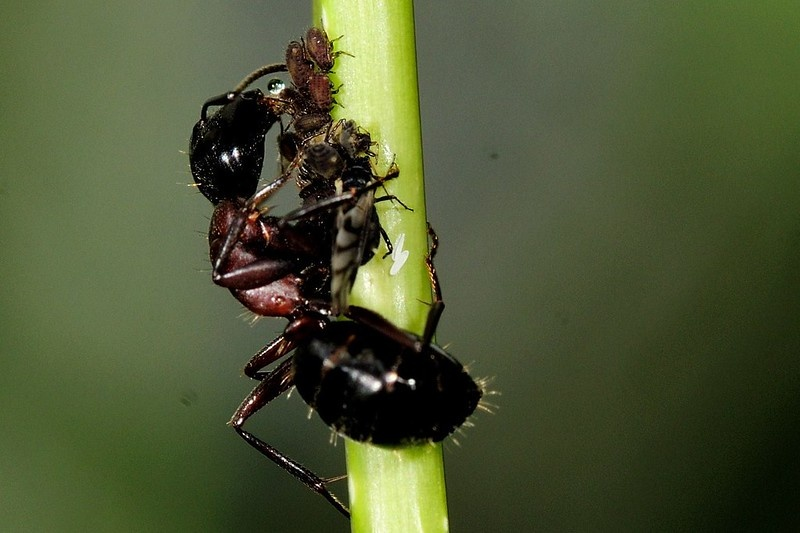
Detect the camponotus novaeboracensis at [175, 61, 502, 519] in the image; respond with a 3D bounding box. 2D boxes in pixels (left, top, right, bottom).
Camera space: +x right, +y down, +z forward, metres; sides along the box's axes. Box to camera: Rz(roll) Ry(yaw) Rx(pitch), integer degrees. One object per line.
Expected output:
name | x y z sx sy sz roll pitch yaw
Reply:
camponotus novaeboracensis | -0.232 0.088 2.920 1.121 0.757 1.632 -17 -70 -38
